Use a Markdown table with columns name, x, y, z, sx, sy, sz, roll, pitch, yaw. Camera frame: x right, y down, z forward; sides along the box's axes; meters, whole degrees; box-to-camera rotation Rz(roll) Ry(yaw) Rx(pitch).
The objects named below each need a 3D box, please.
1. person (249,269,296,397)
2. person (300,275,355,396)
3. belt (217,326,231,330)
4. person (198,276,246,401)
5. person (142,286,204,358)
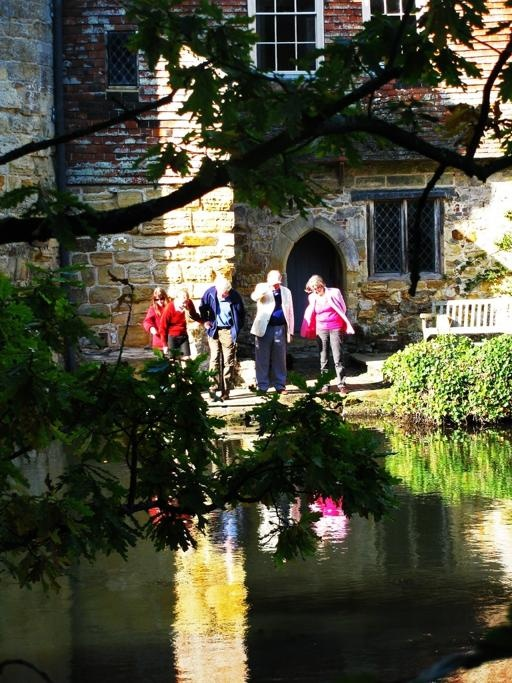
| name | x | y | z | sx | sy | sz | roll | pitch | yaw |
| --- | --- | --- | --- | --- | --- | --- | --- | --- | --- |
| person | 0.200 | -0.131 | 12.061 | 0.515 | 1.519 | 0.445 | -3 | 5 | 0 |
| person | 0.935 | -0.098 | 11.950 | 0.451 | 1.452 | 0.762 | -6 | 6 | -31 |
| belt | -0.402 | -0.170 | 11.725 | 0.168 | 0.052 | 0.037 | -1 | 5 | 14 |
| person | -0.458 | -0.039 | 11.774 | 0.517 | 1.481 | 0.740 | -1 | 5 | 21 |
| person | -1.041 | -0.231 | 11.269 | 0.567 | 0.787 | 0.878 | -3 | 4 | -4 |
